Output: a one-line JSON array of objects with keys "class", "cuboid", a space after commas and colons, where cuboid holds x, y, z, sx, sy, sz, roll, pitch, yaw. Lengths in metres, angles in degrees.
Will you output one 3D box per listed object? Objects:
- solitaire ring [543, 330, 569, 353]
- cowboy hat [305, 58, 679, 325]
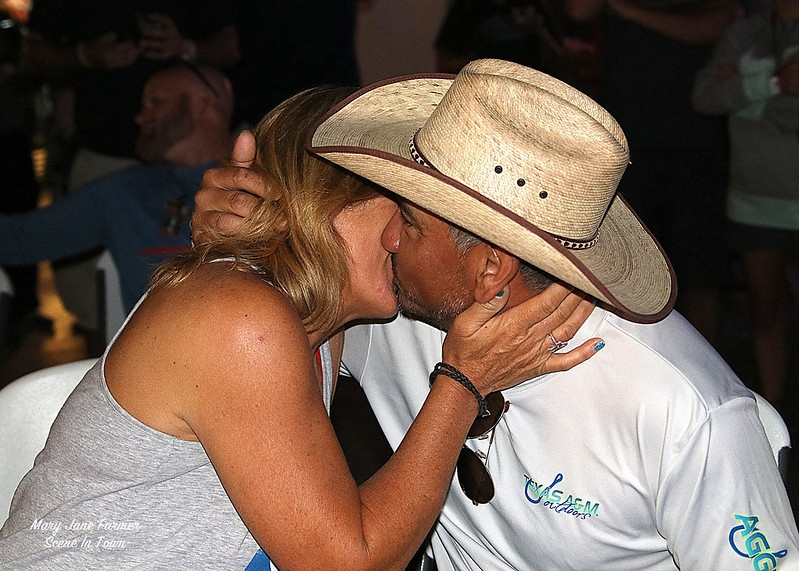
[{"class": "solitaire ring", "cuboid": [0.443, 0.161, 2.594, 0.066, 0.029, 0.051, -19, 81, -7]}, {"class": "cowboy hat", "cuboid": [0.220, -0.204, 2.515, 0.874, 0.290, 0.712, 34, 23, 4]}]
